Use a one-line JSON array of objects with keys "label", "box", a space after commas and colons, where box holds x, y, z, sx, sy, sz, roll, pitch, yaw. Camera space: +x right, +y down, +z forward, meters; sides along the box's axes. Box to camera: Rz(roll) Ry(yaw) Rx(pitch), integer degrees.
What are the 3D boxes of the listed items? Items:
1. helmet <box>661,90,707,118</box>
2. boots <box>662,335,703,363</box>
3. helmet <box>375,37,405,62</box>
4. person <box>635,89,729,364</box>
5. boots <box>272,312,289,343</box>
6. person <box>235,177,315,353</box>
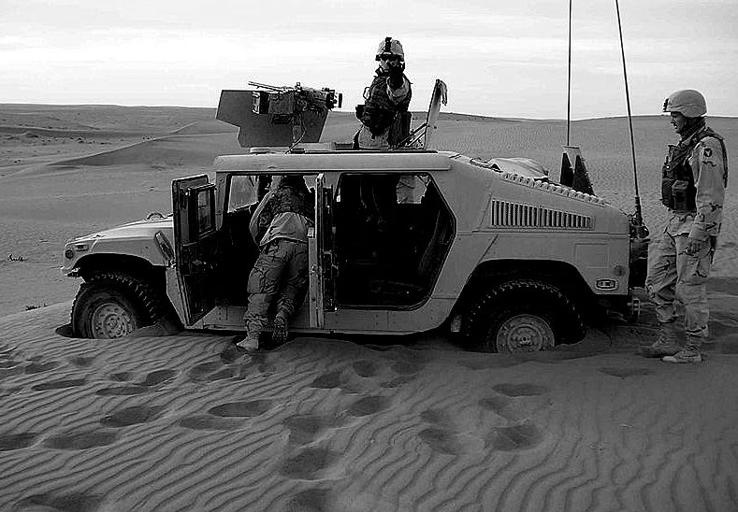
[{"label": "helmet", "box": [3.347, -1.601, 6.603, 0.372, 0.292, 0.337, 5, 12, 23]}, {"label": "boots", "box": [3.370, 0.968, 6.650, 0.475, 0.283, 0.298, 2, 11, 9]}, {"label": "helmet", "box": [0.291, -2.760, 8.303, 0.329, 0.286, 0.524, 0, 11, -1]}, {"label": "person", "box": [3.404, -0.317, 6.663, 0.701, 2.835, 1.211, 5, 12, 24]}, {"label": "boots", "box": [-0.975, 0.820, 6.850, 0.156, 0.366, 0.161, -1, 14, 7]}, {"label": "person", "box": [-1.045, 0.074, 7.024, 0.853, 1.934, 0.844, 0, 11, -1]}]
